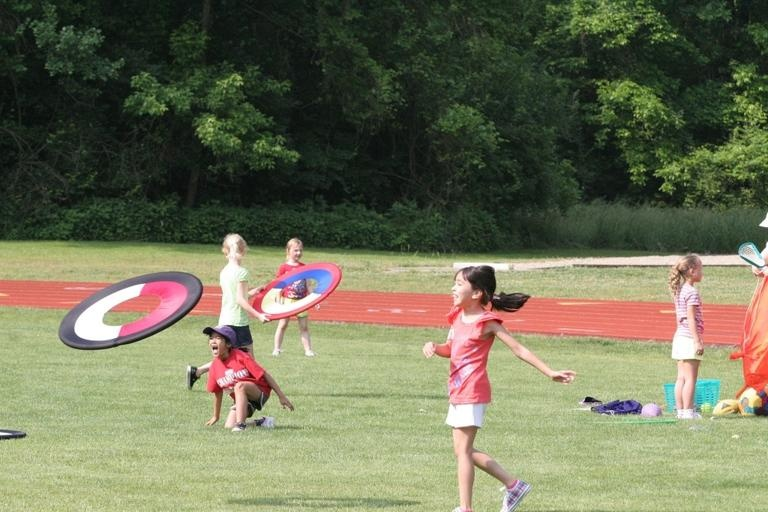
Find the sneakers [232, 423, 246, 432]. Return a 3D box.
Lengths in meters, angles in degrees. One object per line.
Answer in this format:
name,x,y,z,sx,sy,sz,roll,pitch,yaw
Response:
sneakers,-4.920,5.739,62.733,0.463,0.257,0.179,0,15,-14
